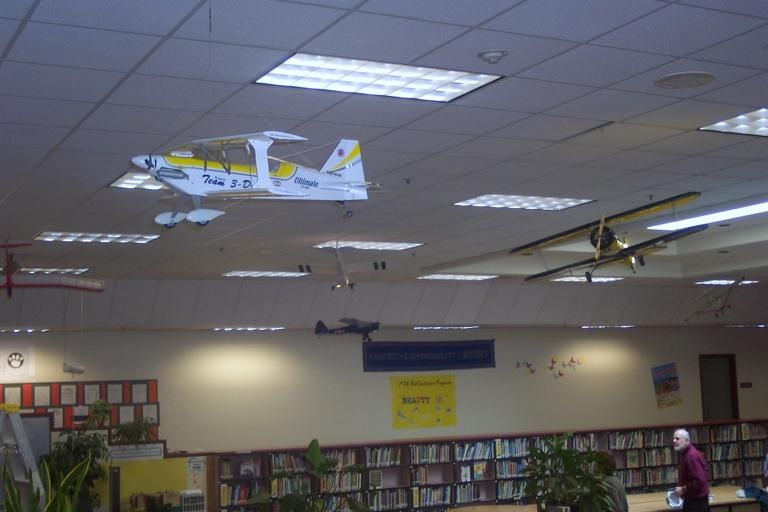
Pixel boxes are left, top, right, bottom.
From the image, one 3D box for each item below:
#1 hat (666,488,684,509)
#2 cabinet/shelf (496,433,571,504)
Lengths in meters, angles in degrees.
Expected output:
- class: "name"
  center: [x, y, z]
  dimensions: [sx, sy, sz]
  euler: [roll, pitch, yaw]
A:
- class: "hat"
  center: [4.093, 3.497, 10.215]
  dimensions: [0.364, 0.280, 0.074]
  euler: [8, -23, -11]
- class: "cabinet/shelf"
  center: [2.077, 2.787, 9.059]
  dimensions: [0.597, 0.915, 0.808]
  euler: [3, -14, -19]
